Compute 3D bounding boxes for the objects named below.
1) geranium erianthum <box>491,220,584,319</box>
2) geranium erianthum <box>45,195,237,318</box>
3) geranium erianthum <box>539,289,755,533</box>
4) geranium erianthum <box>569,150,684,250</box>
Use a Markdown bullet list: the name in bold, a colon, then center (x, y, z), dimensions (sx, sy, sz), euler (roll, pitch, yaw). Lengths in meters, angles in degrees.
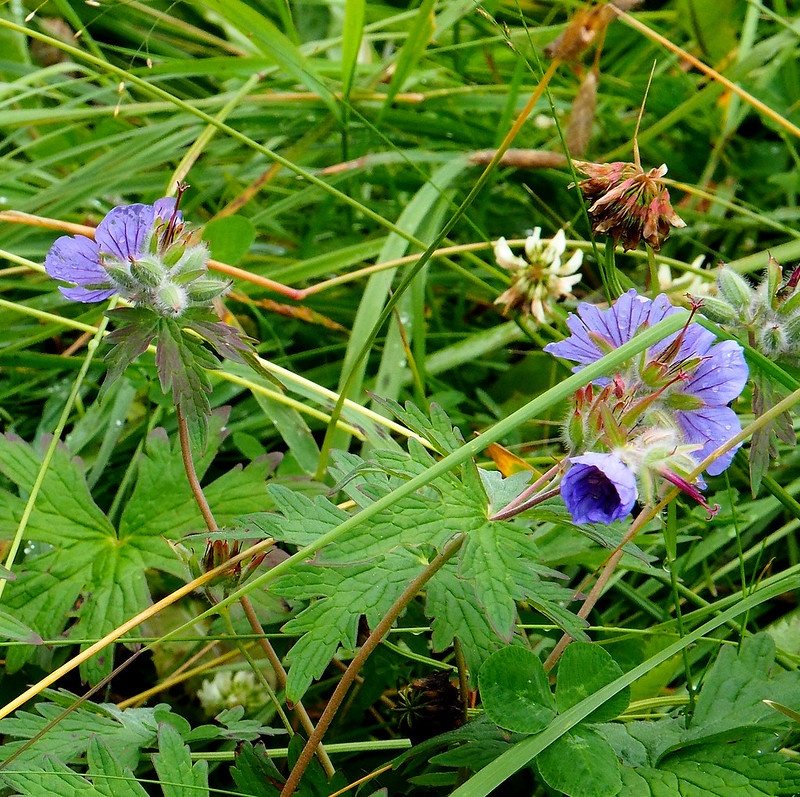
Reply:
- **geranium erianthum**: center (0.395, -0.386, 2.584), dimensions (0.302, 0.184, 0.270), euler (-7, 98, -6)
- **geranium erianthum**: center (-0.426, -0.228, 1.502), dimensions (0.295, 0.159, 0.209), euler (3, 60, -8)
- **geranium erianthum**: center (0.394, 0.042, 1.408), dimensions (0.308, 0.331, 0.403), euler (3, 61, 1)
- **geranium erianthum**: center (0.510, -0.415, 1.876), dimensions (0.260, 0.125, 0.198), euler (-10, 26, -43)
